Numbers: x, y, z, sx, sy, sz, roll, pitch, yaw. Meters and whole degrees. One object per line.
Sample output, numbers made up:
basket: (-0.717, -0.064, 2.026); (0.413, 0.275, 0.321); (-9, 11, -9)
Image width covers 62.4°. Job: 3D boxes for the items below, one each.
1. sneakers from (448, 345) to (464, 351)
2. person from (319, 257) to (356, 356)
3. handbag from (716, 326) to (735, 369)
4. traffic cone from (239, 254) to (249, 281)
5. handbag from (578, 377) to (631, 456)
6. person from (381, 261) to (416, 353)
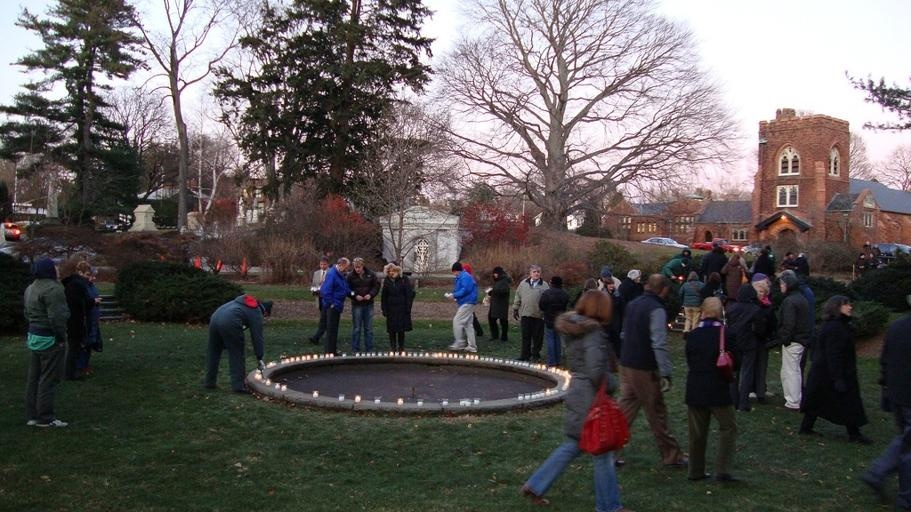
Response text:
sneakers: (0.020, 2.960, 24.415); (0.474, 0.203, 0.170); (0, -1, 7)
person: (-3.681, 1.482, 22.999); (0.900, 2.613, 0.931); (2, 0, -8)
handbag: (5.998, 2.042, 16.740); (0.347, 0.976, 0.920); (-6, -7, 20)
traffic cone: (-10.863, 0.514, 38.590); (0.376, 1.017, 1.209); (2, 0, -18)
handbag: (3.170, 3.487, 16.009); (1.007, 1.527, 0.317); (2, 0, 10)
person: (-1.774, 1.516, 23.358); (1.018, 2.708, 0.919); (0, -1, -13)
